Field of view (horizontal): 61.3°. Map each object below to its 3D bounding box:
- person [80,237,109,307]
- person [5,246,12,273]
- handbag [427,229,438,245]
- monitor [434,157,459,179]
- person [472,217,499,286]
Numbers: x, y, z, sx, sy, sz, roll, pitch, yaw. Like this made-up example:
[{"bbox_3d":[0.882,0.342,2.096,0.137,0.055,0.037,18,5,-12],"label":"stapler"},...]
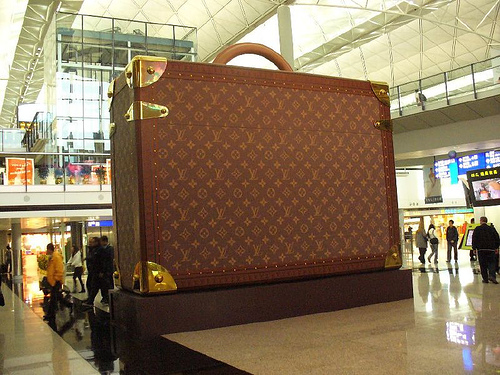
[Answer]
[{"bbox_3d":[-4.166,2.211,11.209,0.753,1.815,0.770,-5,-6,27],"label":"person"},{"bbox_3d":[-16.822,5.008,29.278,0.392,1.827,1.171,-1,-5,-31],"label":"person"},{"bbox_3d":[8.299,2.376,19.082,0.288,0.582,0.394,-5,-8,35],"label":"handbag"},{"bbox_3d":[10.255,-0.937,22.026,1.245,0.983,0.716,-2,1,13],"label":"monitor"},{"bbox_3d":[6.245,1.601,11.087,0.659,1.069,1.613,-6,-5,26],"label":"person"}]
